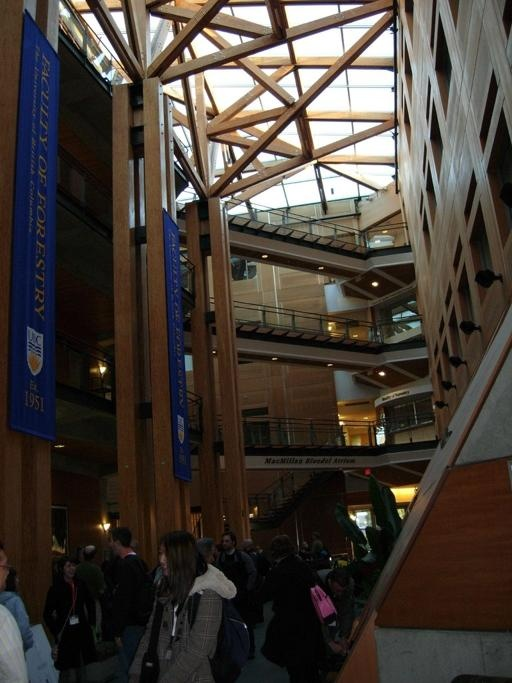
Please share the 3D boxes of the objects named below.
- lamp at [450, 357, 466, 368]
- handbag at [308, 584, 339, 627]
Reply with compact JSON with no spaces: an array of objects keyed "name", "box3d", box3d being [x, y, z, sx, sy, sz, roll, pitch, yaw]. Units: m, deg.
[{"name":"lamp","box3d":[4.301,0.377,11.140,0.266,0.191,0.357,-1,-20,9]},{"name":"handbag","box3d":[0.485,1.910,3.738,0.162,0.298,0.299,-7,-12,3]}]
